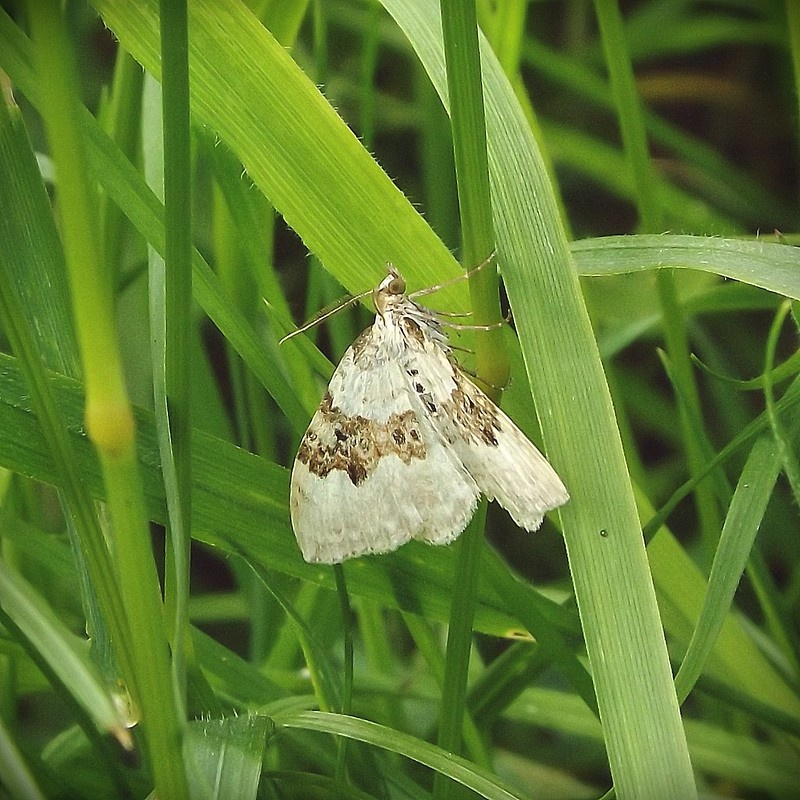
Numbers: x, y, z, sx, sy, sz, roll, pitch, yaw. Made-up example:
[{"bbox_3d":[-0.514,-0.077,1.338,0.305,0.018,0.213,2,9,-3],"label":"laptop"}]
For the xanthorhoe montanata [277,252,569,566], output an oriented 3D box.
[{"bbox_3d":[-0.006,-0.012,0.760,0.189,0.246,0.056,-11,-3,27],"label":"xanthorhoe montanata"}]
